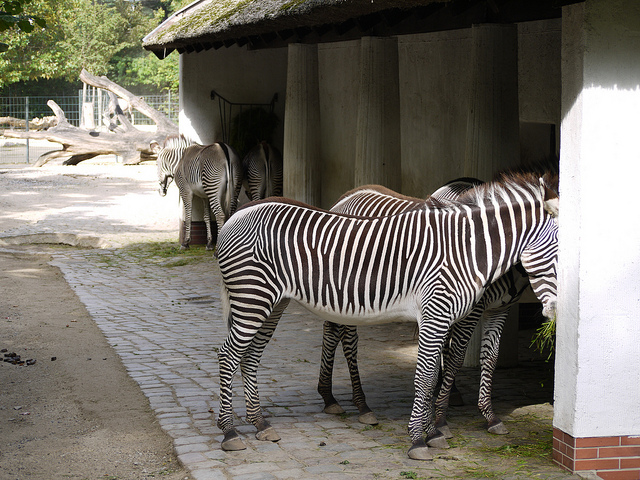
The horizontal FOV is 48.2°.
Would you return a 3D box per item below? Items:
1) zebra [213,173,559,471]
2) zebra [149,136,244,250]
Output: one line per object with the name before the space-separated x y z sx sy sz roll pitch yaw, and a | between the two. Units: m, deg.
zebra | 0.692 0.667 6.622 3.568 2.445 0.911 1 -3 2
zebra | -2.850 -1.198 16.467 1.079 2.643 3.784 -5 4 -36
